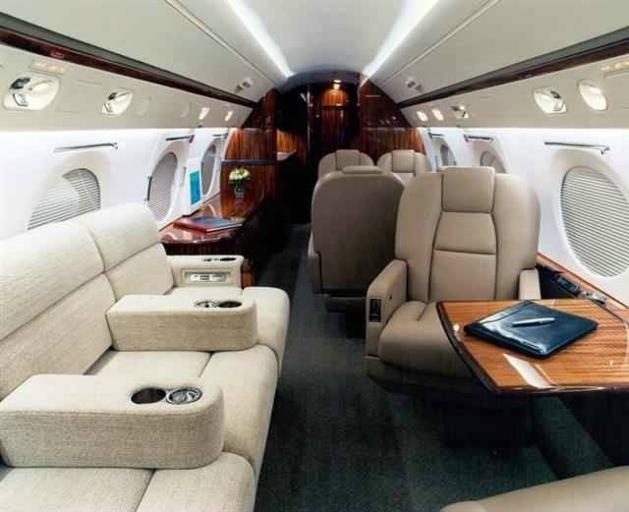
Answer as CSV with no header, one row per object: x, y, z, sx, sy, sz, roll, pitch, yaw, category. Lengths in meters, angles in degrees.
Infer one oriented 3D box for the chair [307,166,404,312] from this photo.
0.397,-0.379,4.025,0.950,1.308,1.366,5,28,12,chair

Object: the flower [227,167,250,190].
-0.961,-1.013,5.504,0.299,0.331,0.311,-5,18,-13,flower

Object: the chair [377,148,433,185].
1.238,-1.138,6.047,0.662,0.712,0.574,0,10,11,chair

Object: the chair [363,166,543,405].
0.857,0.118,2.578,1.186,1.259,1.052,-8,11,-43,chair
